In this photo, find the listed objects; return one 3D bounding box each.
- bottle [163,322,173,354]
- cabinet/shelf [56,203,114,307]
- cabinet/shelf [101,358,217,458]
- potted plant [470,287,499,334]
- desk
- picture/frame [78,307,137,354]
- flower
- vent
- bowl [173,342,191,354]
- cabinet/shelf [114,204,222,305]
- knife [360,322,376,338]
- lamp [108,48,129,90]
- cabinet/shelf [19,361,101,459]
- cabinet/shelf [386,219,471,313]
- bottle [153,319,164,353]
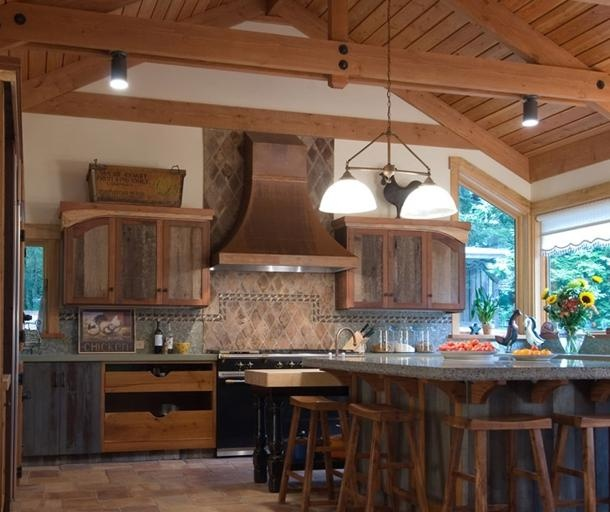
[{"bbox_3d":[-1.322,0.786,6.960,0.093,0.309,0.199,1,-6,-11],"label":"bottle"},{"bbox_3d":[-1.918,0.005,6.778,0.727,0.984,0.718,1,-6,-22],"label":"cabinet/shelf"},{"bbox_3d":[-1.341,1.379,6.461,0.962,0.769,0.367,0,-7,-10],"label":"cabinet/shelf"},{"bbox_3d":[2.065,0.605,8.069,0.354,0.592,0.407,2,-4,34],"label":"potted plant"},{"bbox_3d":[0.007,1.314,5.461,0.992,0.859,1.003,-2,-8,4],"label":"desk"},{"bbox_3d":[-1.895,0.710,6.736,0.457,0.370,0.046,1,-15,-12],"label":"picture/frame"},{"bbox_3d":[2.560,0.411,6.723,0.475,0.486,0.428,15,-18,-27],"label":"flower"},{"bbox_3d":[-0.241,-0.617,7.196,1.448,1.352,0.857,1,4,-21],"label":"vent"},{"bbox_3d":[-1.206,0.897,6.956,0.118,0.078,0.116,-1,-9,0],"label":"bowl"},{"bbox_3d":[-1.338,-0.016,6.738,0.962,0.900,0.386,3,-6,-24],"label":"cabinet/shelf"},{"bbox_3d":[0.680,0.786,7.551,0.115,0.064,0.177,30,47,30],"label":"knife"},{"bbox_3d":[-1.400,-1.388,5.368,0.118,0.293,0.357,2,-7,-16],"label":"lamp"},{"bbox_3d":[-2.266,1.358,6.283,0.369,0.906,0.986,-16,-22,24],"label":"cabinet/shelf"},{"bbox_3d":[1.271,0.091,7.494,0.999,0.868,0.378,1,-3,-7],"label":"cabinet/shelf"},{"bbox_3d":[-1.420,0.783,6.929,0.105,0.307,0.176,2,-6,-13],"label":"bottle"}]
